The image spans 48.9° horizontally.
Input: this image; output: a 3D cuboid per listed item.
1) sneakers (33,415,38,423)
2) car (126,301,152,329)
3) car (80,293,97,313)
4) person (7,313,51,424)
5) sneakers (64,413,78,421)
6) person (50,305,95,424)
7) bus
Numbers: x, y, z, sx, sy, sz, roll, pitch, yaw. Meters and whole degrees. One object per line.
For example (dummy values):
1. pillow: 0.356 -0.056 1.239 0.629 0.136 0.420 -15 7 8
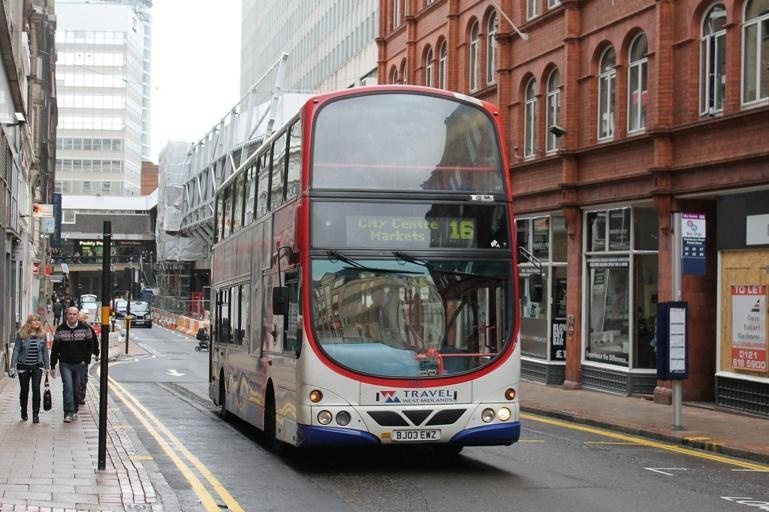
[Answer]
1. sneakers: -7.398 3.444 17.821 0.097 0.164 0.161 4 -10 -20
2. car: -21.137 5.096 72.713 1.607 2.152 2.594 1 -4 -17
3. car: -27.438 4.389 77.831 1.546 1.985 4.747 0 -7 -16
4. person: -7.671 2.389 18.237 0.722 2.263 0.979 1 -3 -23
5. sneakers: -6.771 3.472 18.078 0.108 0.162 0.357 1 -11 -9
6. person: -6.922 2.338 18.532 0.825 2.438 1.136 -1 -3 12
7. bus: -0.862 0.416 15.129 3.276 6.310 6.361 2 -4 -32
